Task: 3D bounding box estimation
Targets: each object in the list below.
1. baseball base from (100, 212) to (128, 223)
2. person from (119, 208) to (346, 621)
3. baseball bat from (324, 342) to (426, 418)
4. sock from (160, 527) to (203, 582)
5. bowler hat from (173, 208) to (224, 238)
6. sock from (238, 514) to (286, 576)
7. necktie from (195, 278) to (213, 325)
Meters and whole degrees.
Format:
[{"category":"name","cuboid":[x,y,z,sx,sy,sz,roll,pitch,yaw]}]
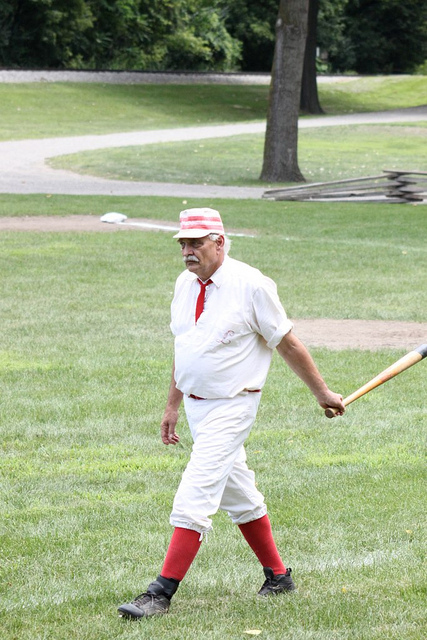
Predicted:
[{"category":"baseball base","cuboid":[-1.670,-1.716,24.358,0.451,0.135,0.576,-1,13,-7]},{"category":"person","cuboid":[0.069,0.487,9.072,1.094,2.366,1.435,1,12,4]},{"category":"baseball bat","cuboid":[1.398,0.535,12.460,0.933,0.146,0.115,-35,0,-13]},{"category":"sock","cuboid":[-0.200,1.388,8.625,0.235,0.338,0.073,-1,12,-3]},{"category":"bowler hat","cuboid":[-0.079,-0.588,8.835,0.289,0.167,0.275,-2,13,-8]},{"category":"sock","cuboid":[0.303,1.380,8.922,0.287,0.371,0.095,0,12,0]},{"category":"necktie","cuboid":[-0.062,-0.111,8.848,0.082,0.266,0.021,9,-13,15]}]
